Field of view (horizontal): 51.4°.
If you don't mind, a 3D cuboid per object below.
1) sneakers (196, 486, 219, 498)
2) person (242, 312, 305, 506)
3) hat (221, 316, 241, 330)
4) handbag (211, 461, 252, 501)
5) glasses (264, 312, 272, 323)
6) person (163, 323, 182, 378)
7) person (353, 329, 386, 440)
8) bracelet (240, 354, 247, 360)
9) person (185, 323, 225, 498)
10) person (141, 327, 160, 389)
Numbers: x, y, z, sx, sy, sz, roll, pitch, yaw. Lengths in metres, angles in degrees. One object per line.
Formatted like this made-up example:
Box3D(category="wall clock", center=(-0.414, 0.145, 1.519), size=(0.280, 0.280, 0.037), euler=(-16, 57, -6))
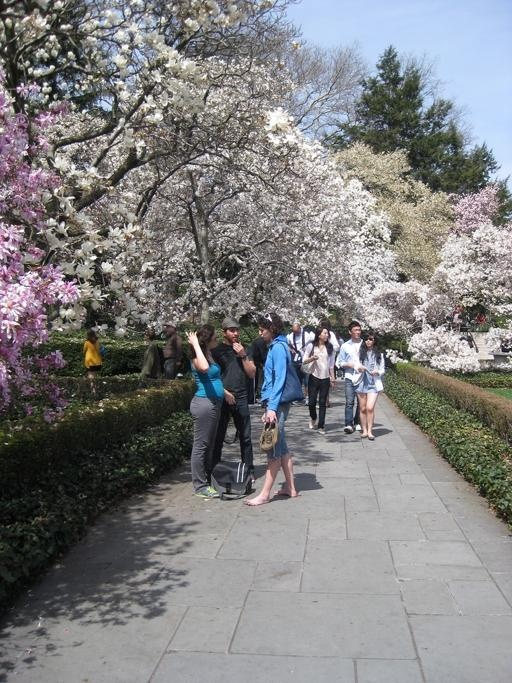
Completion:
Box3D(category="sneakers", center=(-0.553, 1.707, 6.043), size=(0.269, 0.116, 0.108), euler=(-1, -1, 17))
Box3D(category="person", center=(0.214, 0.702, 5.878), size=(0.592, 2.097, 1.105), euler=(-1, -3, 4))
Box3D(category="hat", center=(-0.320, -0.226, 6.463), size=(0.199, 0.159, 0.196), euler=(0, -4, -5))
Box3D(category="handbag", center=(-0.251, 1.548, 6.042), size=(0.391, 0.364, 0.413), euler=(3, 15, 14))
Box3D(category="glasses", center=(0.132, -0.267, 5.980), size=(0.046, 0.057, 0.110), euler=(-10, -38, 20))
Box3D(category="person", center=(-2.186, 0.268, 13.857), size=(0.409, 1.369, 1.019), euler=(0, -3, -9))
Box3D(category="person", center=(2.093, 0.835, 9.790), size=(0.487, 1.914, 1.053), euler=(-1, -3, 11))
Box3D(category="bracelet", center=(-0.144, 0.180, 6.464), size=(0.068, 0.046, 0.072), euler=(3, 44, 29))
Box3D(category="person", center=(-0.569, 0.782, 5.939), size=(0.372, 1.940, 0.624), euler=(0, -3, -5))
Box3D(category="person", center=(-2.710, 0.326, 13.621), size=(0.486, 1.261, 1.694), euler=(0, -4, -10))
